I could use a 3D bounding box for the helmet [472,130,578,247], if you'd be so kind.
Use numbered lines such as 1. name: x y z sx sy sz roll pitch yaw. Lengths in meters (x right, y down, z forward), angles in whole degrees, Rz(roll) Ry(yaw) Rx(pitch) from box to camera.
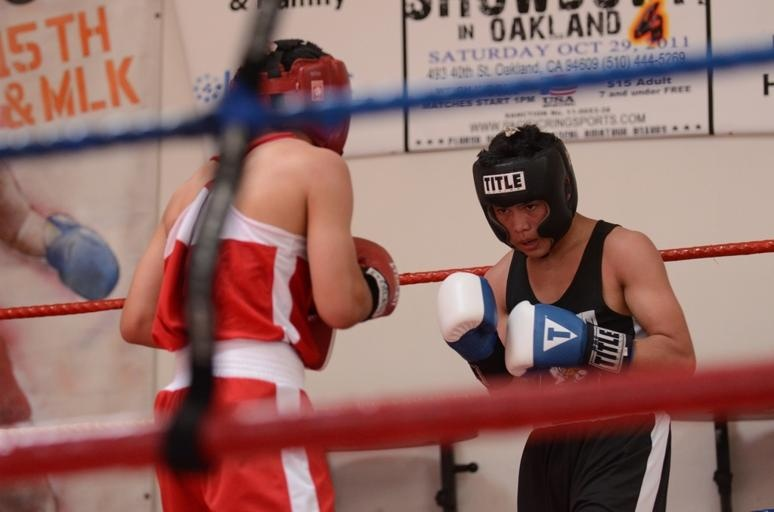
1. helmet: 0.455 -0.211 2.875 0.283 0.304 0.361 0 24 39

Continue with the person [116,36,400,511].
1. person: -0.338 0.046 2.420 0.773 1.239 0.541 -6 13 -18

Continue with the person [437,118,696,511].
1. person: 0.538 0.190 2.698 0.700 1.133 0.428 8 16 40

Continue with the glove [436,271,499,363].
1. glove: 0.260 0.183 2.790 0.175 0.307 0.207 -8 55 11
